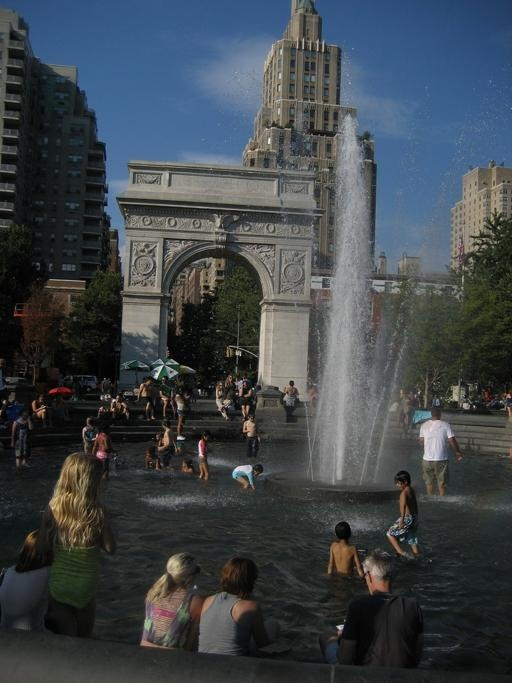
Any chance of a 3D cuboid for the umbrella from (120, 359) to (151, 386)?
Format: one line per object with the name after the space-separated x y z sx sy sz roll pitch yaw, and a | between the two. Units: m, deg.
-5.698 1.475 34.794 1.501 1.339 1.429 -2 3 -4 | umbrella
